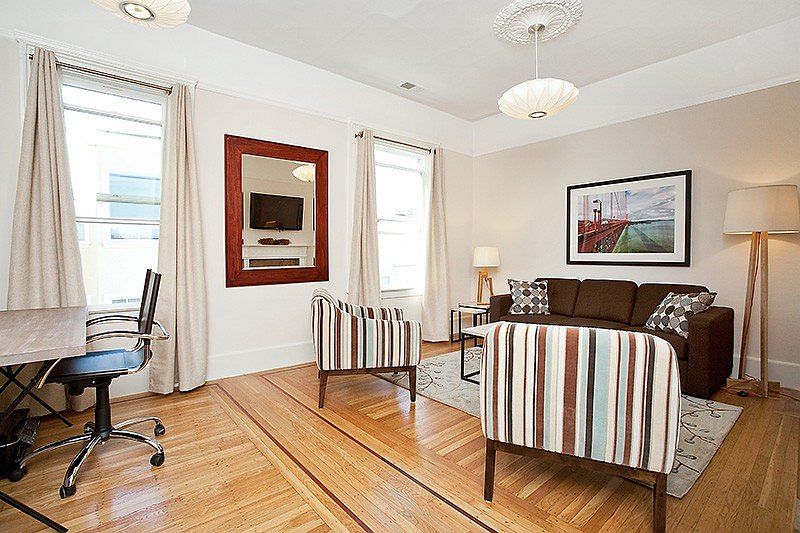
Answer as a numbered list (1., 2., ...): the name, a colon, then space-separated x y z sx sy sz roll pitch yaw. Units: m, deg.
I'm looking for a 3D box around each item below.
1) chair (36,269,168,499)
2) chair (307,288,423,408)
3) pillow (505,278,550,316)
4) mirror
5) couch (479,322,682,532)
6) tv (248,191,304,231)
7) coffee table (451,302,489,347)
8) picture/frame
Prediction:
1. chair: -2.505 0.879 4.219 1.201 1.544 1.221 -1 1 -6
2. chair: 0.012 0.966 5.459 1.311 1.127 1.348 -9 -17 24
3. pillow: 1.678 0.398 6.550 0.458 0.413 0.137 -1 -18 9
4. mirror: -1.386 -0.610 5.869 1.261 1.619 0.039 -1 3 -35
5. couch: 1.466 1.005 4.219 1.526 1.483 1.472 0 -5 25
6. tv: -1.417 -0.635 5.829 0.659 0.424 0.055 2 5 8
7. coffee table: 0.972 0.818 7.143 0.635 0.574 0.507 -4 -22 -12
8. picture/frame: 2.824 -0.606 6.171 1.308 0.941 0.026 -1 -4 41
